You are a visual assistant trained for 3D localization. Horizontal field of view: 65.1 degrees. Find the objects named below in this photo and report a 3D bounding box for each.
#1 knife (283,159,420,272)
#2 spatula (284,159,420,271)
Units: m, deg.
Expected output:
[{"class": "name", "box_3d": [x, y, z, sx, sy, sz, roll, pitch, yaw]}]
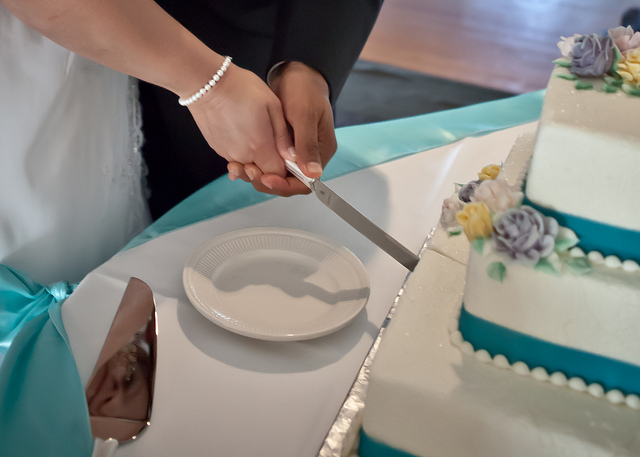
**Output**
[{"class": "knife", "box_3d": [0.066, -0.032, 1.211, 0.061, 0.068, 0.767, 18, 11, -19]}, {"class": "spatula", "box_3d": [0.075, -0.024, 1.271, 0.055, 0.038, 0.448, -48, 59, 1]}]
